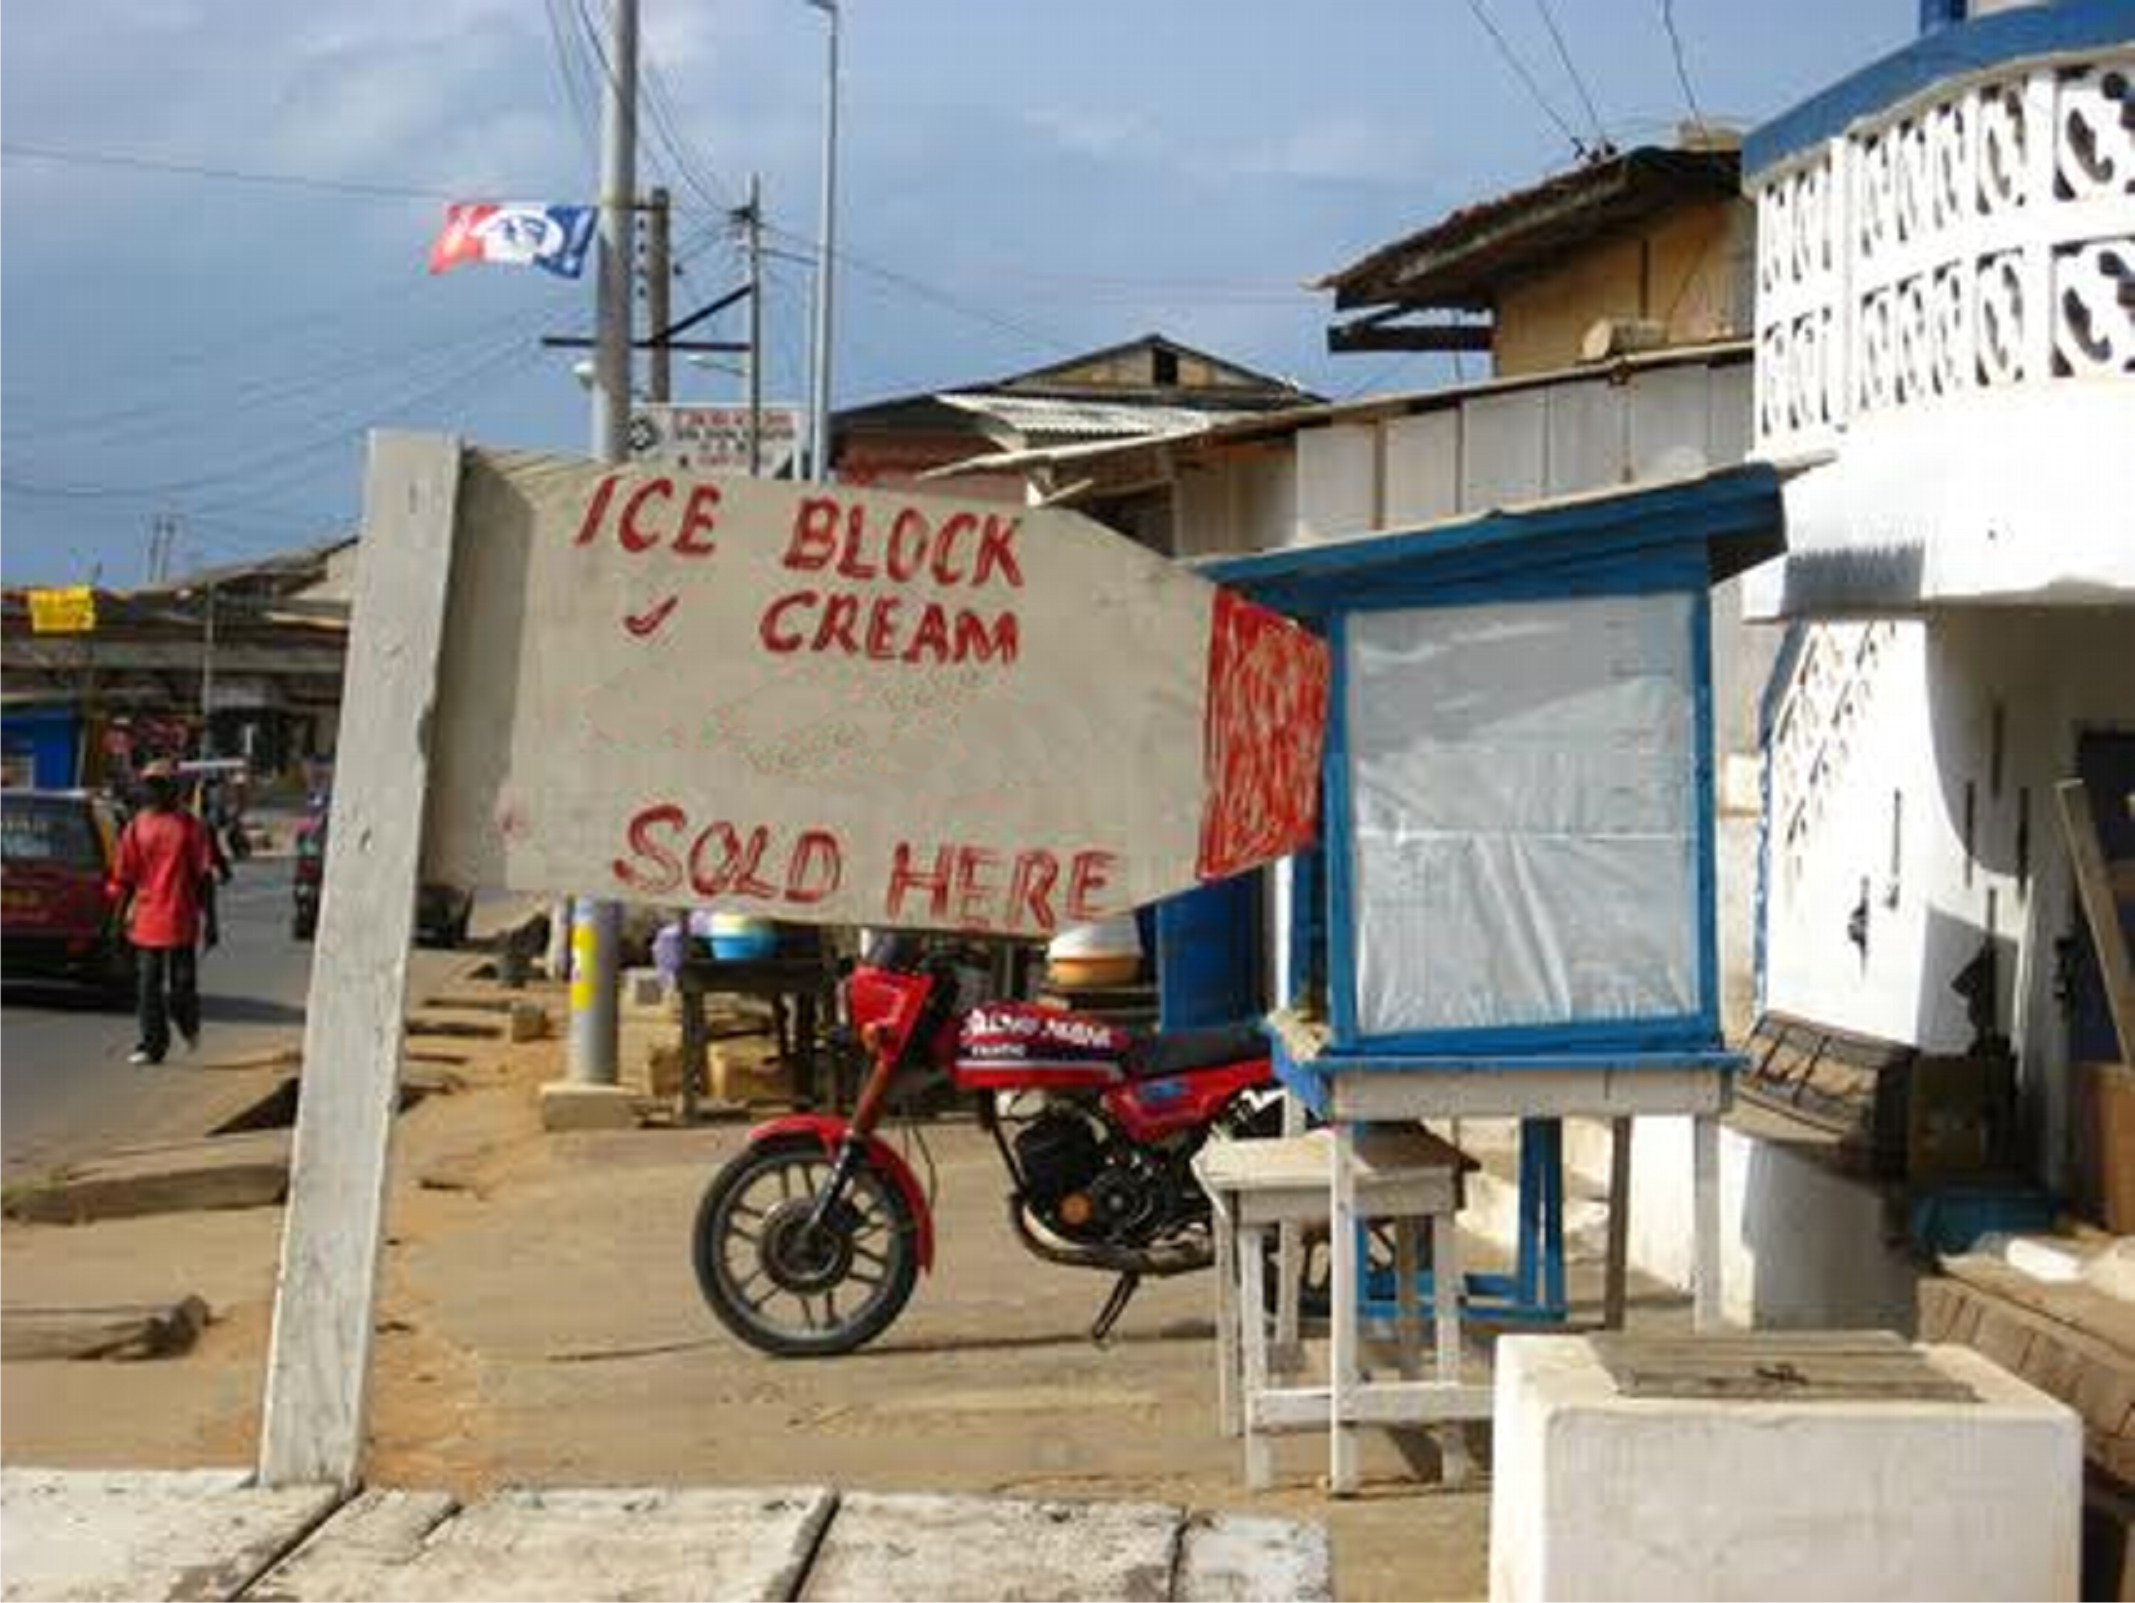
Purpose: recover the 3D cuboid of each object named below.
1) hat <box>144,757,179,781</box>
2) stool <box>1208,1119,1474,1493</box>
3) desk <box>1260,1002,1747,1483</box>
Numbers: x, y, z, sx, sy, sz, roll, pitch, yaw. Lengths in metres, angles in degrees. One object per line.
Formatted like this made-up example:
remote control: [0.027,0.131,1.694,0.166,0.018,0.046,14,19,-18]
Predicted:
hat: [-5.617,-0.189,15.398,0.197,0.093,0.283,2,5,-12]
stool: [0.834,1.602,7.958,0.591,0.647,0.856,-5,4,-28]
desk: [1.352,1.447,8.045,1.475,1.395,1.372,0,-3,-8]
